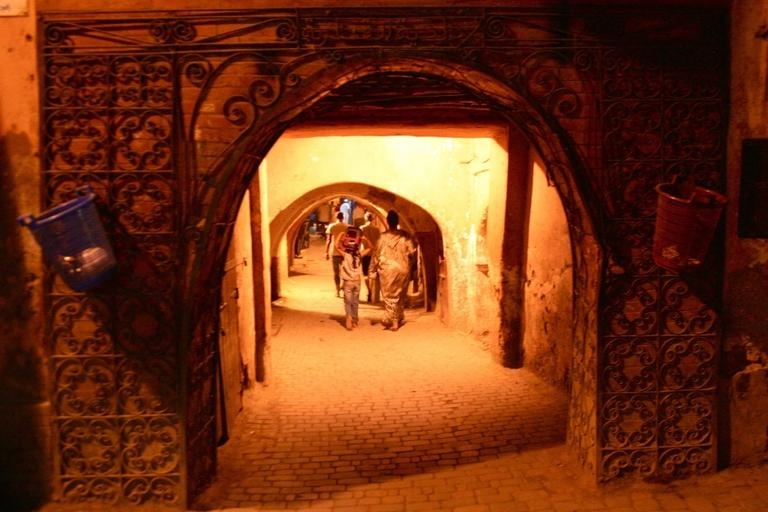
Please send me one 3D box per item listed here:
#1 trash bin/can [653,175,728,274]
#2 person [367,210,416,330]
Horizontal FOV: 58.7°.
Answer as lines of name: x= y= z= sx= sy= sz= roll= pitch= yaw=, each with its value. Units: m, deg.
trash bin/can: x=2.623 y=-0.276 z=5.929 sx=0.565 sy=0.809 sz=0.576 roll=1 pitch=9 yaw=19
person: x=0.077 y=0.269 z=12.219 sx=0.713 sy=2.170 sz=0.752 roll=1 pitch=10 yaw=21
